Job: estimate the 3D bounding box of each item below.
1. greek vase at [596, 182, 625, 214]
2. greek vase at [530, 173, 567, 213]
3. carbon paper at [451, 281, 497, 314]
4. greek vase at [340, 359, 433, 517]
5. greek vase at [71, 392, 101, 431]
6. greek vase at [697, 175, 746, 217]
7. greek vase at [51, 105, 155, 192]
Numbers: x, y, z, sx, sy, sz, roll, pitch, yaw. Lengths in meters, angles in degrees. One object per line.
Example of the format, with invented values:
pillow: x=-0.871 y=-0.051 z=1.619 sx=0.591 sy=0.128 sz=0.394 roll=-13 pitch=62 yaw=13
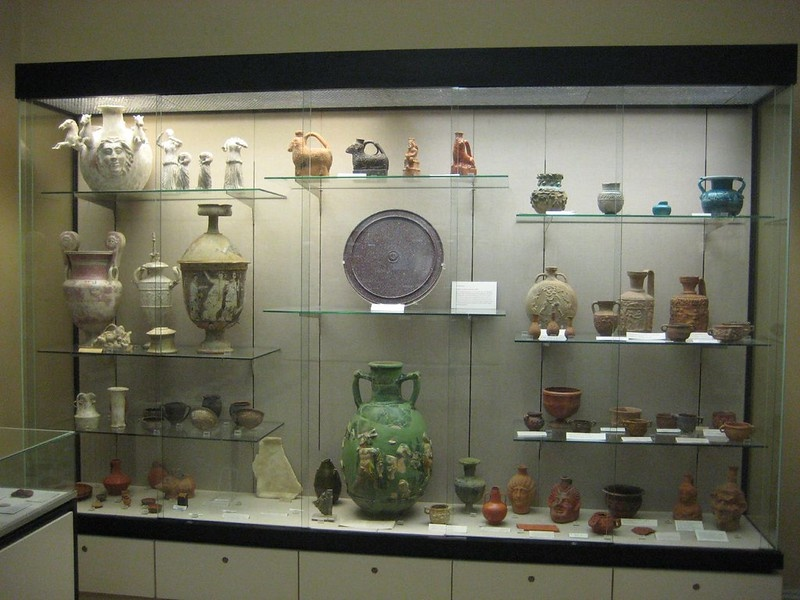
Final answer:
greek vase: x=1.275 y=-0.607 z=4.965 sx=0.175 sy=0.209 sz=0.175 roll=-1 pitch=0 yaw=-28
greek vase: x=0.929 y=-0.652 z=5.083 sx=0.226 sy=0.262 sz=0.225 roll=-4 pitch=9 yaw=-18
carbon paper: x=0.440 y=-0.017 z=5.019 sx=0.196 sy=0.142 sz=0.026 roll=0 pitch=6 yaw=-4
greek vase: x=-0.079 y=0.869 z=5.142 sx=0.564 sy=0.919 sz=0.552 roll=-4 pitch=1 yaw=-19
greek vase: x=-2.046 y=0.720 z=5.298 sx=0.159 sy=0.231 sz=0.155 roll=1 pitch=2 yaw=-22
greek vase: x=1.946 y=-0.607 z=4.979 sx=0.290 sy=0.258 sz=0.237 roll=0 pitch=-1 yaw=4
greek vase: x=-1.864 y=-0.977 z=5.314 sx=0.693 sy=0.547 sz=0.681 roll=7 pitch=14 yaw=29
